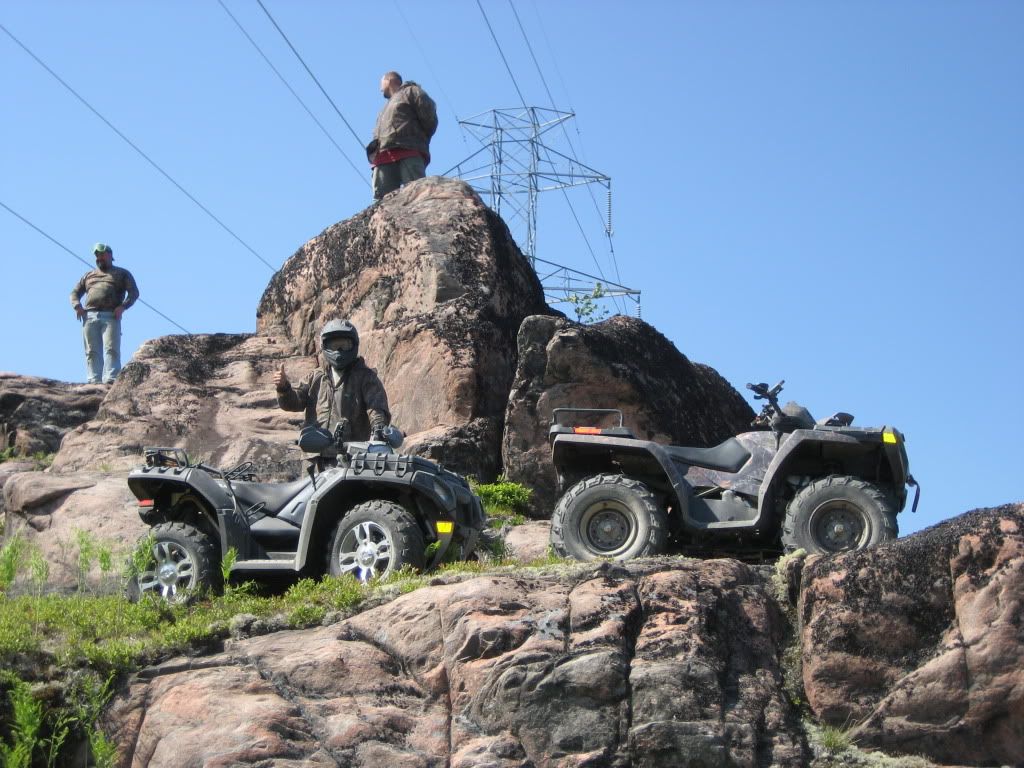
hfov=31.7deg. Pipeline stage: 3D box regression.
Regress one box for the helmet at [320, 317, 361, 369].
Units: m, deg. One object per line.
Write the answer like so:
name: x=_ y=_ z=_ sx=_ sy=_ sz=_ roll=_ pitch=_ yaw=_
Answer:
helmet: x=-1.981 y=-0.471 z=21.071 sx=0.372 sy=0.595 sz=0.566 roll=-6 pitch=17 yaw=-6

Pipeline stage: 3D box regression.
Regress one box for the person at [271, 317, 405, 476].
person: x=-2.050 y=0.383 z=20.949 sx=1.131 sy=2.424 sz=1.172 roll=0 pitch=-1 yaw=-1

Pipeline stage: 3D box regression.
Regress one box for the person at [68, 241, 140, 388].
person: x=-6.888 y=-1.068 z=30.715 sx=1.014 sy=2.351 sz=1.561 roll=4 pitch=-19 yaw=-14

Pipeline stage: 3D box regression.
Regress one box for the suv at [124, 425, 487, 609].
suv: x=-2.313 y=1.432 z=19.668 sx=3.038 sy=1.819 sz=1.953 roll=-5 pitch=-4 yaw=8

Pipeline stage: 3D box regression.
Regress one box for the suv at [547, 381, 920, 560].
suv: x=2.366 y=1.163 z=20.044 sx=3.523 sy=2.194 sz=2.071 roll=-2 pitch=-4 yaw=4

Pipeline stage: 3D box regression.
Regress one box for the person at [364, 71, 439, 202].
person: x=-1.835 y=-4.265 z=31.026 sx=1.143 sy=1.990 sz=0.825 roll=-2 pitch=-18 yaw=7
